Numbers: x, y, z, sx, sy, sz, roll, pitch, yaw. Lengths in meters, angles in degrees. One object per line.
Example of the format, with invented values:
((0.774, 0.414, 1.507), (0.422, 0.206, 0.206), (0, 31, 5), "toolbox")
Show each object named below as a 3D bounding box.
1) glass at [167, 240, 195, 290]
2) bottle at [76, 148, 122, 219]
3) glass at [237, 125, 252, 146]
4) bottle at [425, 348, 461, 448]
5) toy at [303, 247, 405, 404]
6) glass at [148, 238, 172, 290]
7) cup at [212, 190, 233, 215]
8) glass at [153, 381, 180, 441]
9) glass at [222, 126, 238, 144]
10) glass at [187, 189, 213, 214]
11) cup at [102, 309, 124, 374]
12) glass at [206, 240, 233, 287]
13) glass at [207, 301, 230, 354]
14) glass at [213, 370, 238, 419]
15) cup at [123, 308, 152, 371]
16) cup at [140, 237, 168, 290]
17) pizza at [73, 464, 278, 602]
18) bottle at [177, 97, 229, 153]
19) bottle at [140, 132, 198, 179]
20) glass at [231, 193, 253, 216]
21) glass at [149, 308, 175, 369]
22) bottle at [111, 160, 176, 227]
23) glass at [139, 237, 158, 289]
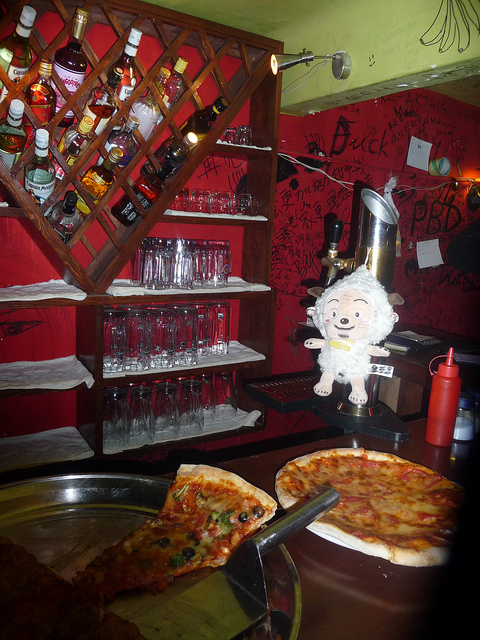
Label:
((-0.213, -0.205, 1.788), (0.125, 0.183, 0.119), (1, 5, -11), "glass")
((-0.446, -0.435, 1.527), (0.081, 0.089, 0.327), (39, -37, -13), "bottle")
((0.018, -0.694, 1.801), (0.053, 0.078, 0.027), (6, 0, -21), "glass")
((0.474, 0.178, 1.117), (0.065, 0.229, 0.121), (7, 0, 25), "bottle")
((0.210, 0.012, 0.920), (0.190, 0.284, 0.068), (8, 5, 34), "toy")
((-0.297, -0.196, 1.714), (0.066, 0.204, 0.058), (16, -27, -39), "glass")
((-0.067, -0.446, 1.817), (0.092, 0.113, 0.083), (3, 14, -3), "cup")
((-0.257, 0.324, 1.712), (0.102, 0.216, 0.141), (7, 0, -6), "glass")
((-0.034, -0.694, 1.796), (0.063, 0.066, 0.061), (6, 11, 6), "glass")
((-0.142, -0.438, 1.765), (0.093, 0.090, 0.037), (6, 0, -8), "glass")
((-0.426, 0.083, 1.633), (0.081, 0.213, 0.051), (7, 0, -13), "cup")
((-0.063, -0.221, 1.905), (0.109, 0.168, 0.164), (1, 2, -34), "glass")
((-0.083, 0.041, 1.951), (0.091, 0.209, 0.085), (7, 0, 4), "glass")
((-0.043, 0.310, 2.043), (0.104, 0.159, 0.101), (-5, 1, 19), "glass")
((-0.354, 0.067, 1.682), (0.087, 0.220, 0.159), (7, 0, 12), "cup")
((-0.310, -0.202, 1.735), (0.127, 0.177, 0.126), (2, 0, 0), "cup")
((-0.102, 0.320, 0.721), (0.174, 0.038, 0.333), (23, 20, 28), "pizza")
((-0.146, -0.746, 1.784), (0.133, 0.093, 0.343), (-35, 0, -8), "bottle")
((-0.236, -0.550, 1.613), (0.203, 0.165, 0.142), (0, 10, -17), "bottle")
((0.003, -0.440, 1.860), (0.092, 0.088, 0.082), (2, -1, -7), "glass")
((-0.277, 0.064, 1.717), (0.104, 0.221, 0.097), (7, 0, -8), "glass")
((-0.313, -0.418, 1.570), (0.102, 0.285, 0.084), (47, 15, -16), "bottle")
((-0.335, -0.205, 1.689), (0.061, 0.180, 0.041), (7, 0, 39), "glass")
